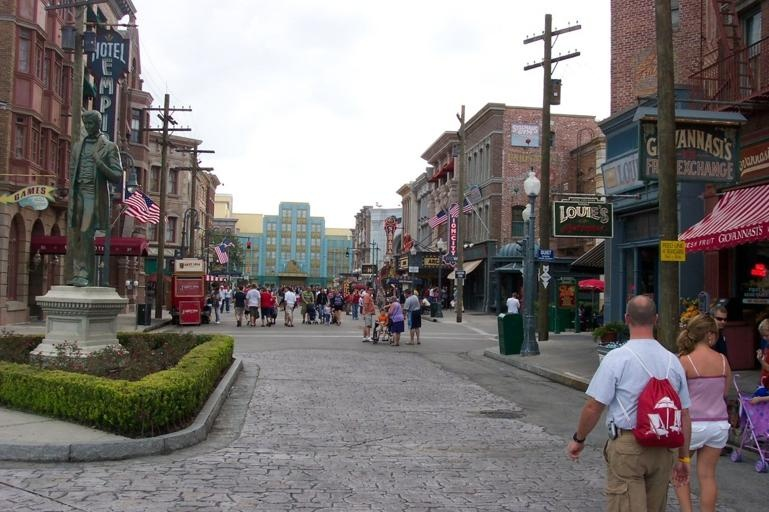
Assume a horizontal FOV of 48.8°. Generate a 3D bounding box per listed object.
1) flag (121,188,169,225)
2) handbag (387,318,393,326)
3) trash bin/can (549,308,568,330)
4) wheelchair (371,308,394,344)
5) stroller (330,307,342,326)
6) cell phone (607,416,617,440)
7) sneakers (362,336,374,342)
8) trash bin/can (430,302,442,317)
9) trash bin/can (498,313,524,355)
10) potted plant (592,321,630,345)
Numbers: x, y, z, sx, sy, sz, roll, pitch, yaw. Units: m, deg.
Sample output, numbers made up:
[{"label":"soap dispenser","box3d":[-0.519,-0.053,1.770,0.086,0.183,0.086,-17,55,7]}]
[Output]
[{"label":"flag","box3d":[-12.082,-2.496,42.465,0.505,2.574,3.448,-12,1,14]},{"label":"handbag","box3d":[0.224,2.369,30.501,0.056,0.245,0.556,2,-6,-14]},{"label":"trash bin/can","box3d":[7.723,2.750,37.335,0.937,1.342,0.897,0,0,-5]},{"label":"wheelchair","box3d":[-0.072,2.472,31.409,0.656,1.156,0.985,4,12,11]},{"label":"stroller","box3d":[-2.392,3.007,42.387,0.528,0.822,0.820,1,-7,-1]},{"label":"cell phone","box3d":[3.060,2.289,11.248,0.058,0.225,0.163,1,-8,-29]},{"label":"sneakers","box3d":[-0.585,3.076,31.695,0.177,0.188,0.447,3,3,41]},{"label":"trash bin/can","box3d":[3.085,3.160,50.185,0.695,0.922,0.948,-2,1,-1]},{"label":"trash bin/can","box3d":[4.004,2.413,26.548,0.765,1.296,0.578,1,-5,-2]},{"label":"potted plant","box3d":[6.512,2.206,24.495,0.822,0.588,0.810,-3,-4,30]}]
